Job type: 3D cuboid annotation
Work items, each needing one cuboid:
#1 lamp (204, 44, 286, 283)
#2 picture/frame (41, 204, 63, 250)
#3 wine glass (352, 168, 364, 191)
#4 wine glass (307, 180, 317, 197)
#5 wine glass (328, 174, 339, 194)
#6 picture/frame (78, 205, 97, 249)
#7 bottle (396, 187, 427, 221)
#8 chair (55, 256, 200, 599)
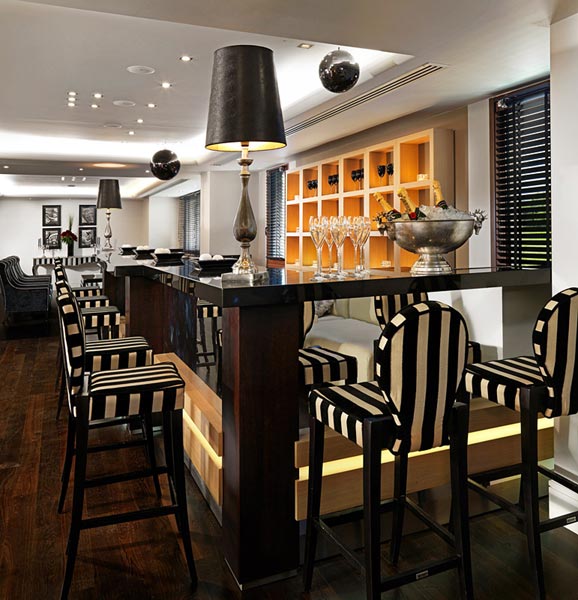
[{"bbox_3d":[-0.160,-0.494,1.832,0.270,0.801,0.281,-2,5,-27],"label":"lamp"},{"bbox_3d":[-6.833,-2.049,14.146,0.591,1.281,0.308,-6,7,-29],"label":"picture/frame"},{"bbox_3d":[0.794,-1.318,5.511,0.169,0.333,0.171,-1,1,10],"label":"wine glass"},{"bbox_3d":[0.303,-1.447,6.456,0.134,0.265,0.140,-2,1,2],"label":"wine glass"},{"bbox_3d":[0.498,-1.388,5.936,0.111,0.239,0.211,-2,9,-1],"label":"wine glass"},{"bbox_3d":[-6.031,-2.160,14.719,0.498,1.502,0.078,-1,-22,-23],"label":"picture/frame"},{"bbox_3d":[0.519,-0.402,2.110,0.095,0.138,0.251,-3,7,3],"label":"bottle"},{"bbox_3d":[-0.728,0.587,2.274,0.354,0.957,1.075,-1,3,-18],"label":"chair"}]
